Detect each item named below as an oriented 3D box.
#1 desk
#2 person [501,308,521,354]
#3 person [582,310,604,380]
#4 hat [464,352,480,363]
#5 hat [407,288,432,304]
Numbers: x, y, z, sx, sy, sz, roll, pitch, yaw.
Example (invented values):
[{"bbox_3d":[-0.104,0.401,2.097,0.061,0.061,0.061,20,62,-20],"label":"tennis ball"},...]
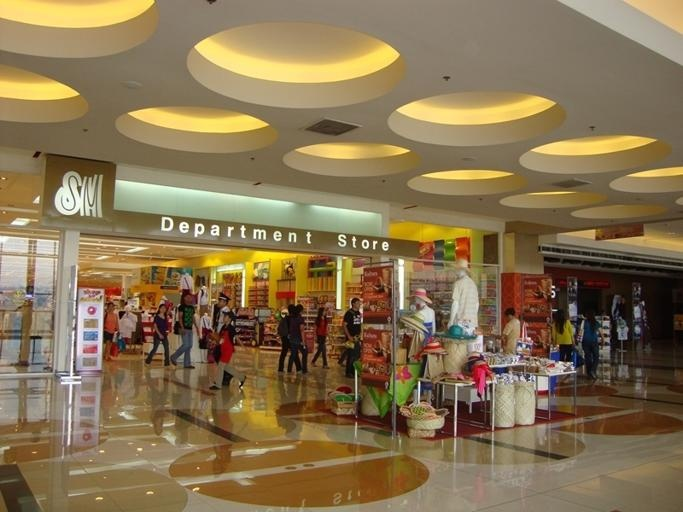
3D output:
[{"bbox_3d":[3.057,2.225,8.604,1.837,1.046,5.125,-3,-7,40],"label":"desk"},{"bbox_3d":[3.250,1.413,9.419,0.315,0.840,0.660,0,-6,18],"label":"person"},{"bbox_3d":[6.545,2.280,12.912,0.375,1.765,1.383,-1,-6,25],"label":"person"},{"bbox_3d":[2.051,1.569,7.590,0.177,0.156,0.168,-3,-8,20],"label":"hat"},{"bbox_3d":[1.262,0.642,7.947,0.281,0.134,0.266,23,-9,-7],"label":"hat"}]
